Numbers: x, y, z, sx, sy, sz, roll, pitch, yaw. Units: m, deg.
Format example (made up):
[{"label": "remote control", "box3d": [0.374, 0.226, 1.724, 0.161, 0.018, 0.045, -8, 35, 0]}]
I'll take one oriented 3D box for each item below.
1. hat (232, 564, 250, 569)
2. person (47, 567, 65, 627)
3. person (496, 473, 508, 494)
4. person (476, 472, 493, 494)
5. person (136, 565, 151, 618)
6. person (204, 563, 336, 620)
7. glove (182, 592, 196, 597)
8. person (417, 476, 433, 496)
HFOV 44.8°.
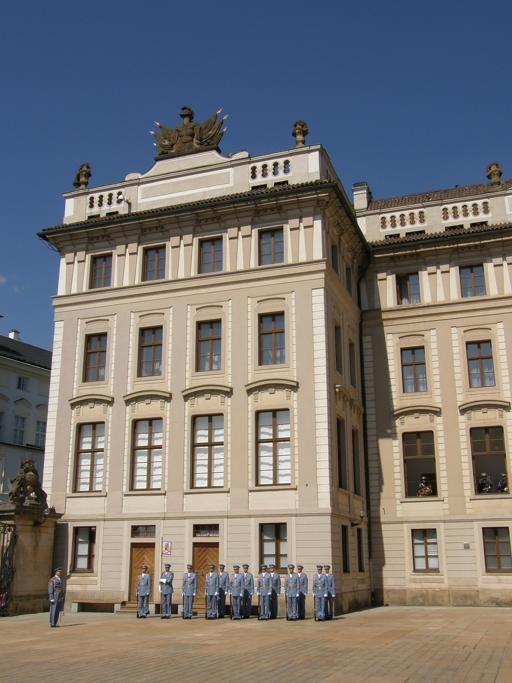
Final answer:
[{"label": "hat", "box3d": [-0.473, 7.419, 20.195, 0.534, 0.225, 0.573, -2, -13, 6]}, {"label": "person", "box3d": [-5.714, 7.386, 17.800, 0.410, 1.567, 1.516, 5, -18, -16]}, {"label": "person", "box3d": [10.592, 6.220, 26.855, 0.496, 0.908, 1.423, -6, -19, 19]}, {"label": "person", "box3d": [9.924, 6.279, 27.125, 0.583, 0.900, 0.847, -8, -20, 24]}, {"label": "person", "box3d": [-3.832, 8.584, 21.182, 0.411, 1.618, 1.027, 4, -18, -11]}, {"label": "person", "box3d": [1.094, 7.839, 19.261, 2.984, 1.577, 1.132, -11, -21, 30]}, {"label": "glove", "box3d": [-2.186, 8.292, 20.198, 0.365, 0.159, 0.256, -1, -18, 4]}, {"label": "person", "box3d": [7.569, 6.574, 27.883, 0.749, 1.100, 0.767, -2, -9, 22]}]
